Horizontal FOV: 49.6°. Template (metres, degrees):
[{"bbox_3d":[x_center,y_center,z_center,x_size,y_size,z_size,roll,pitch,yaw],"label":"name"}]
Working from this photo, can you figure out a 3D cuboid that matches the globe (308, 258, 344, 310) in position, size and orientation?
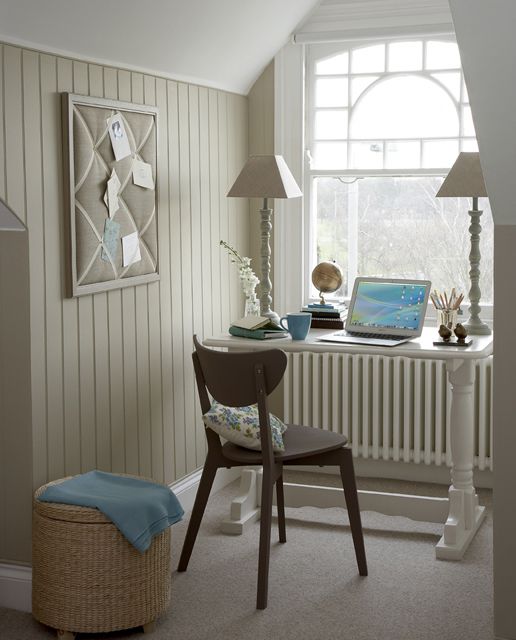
[{"bbox_3d":[0.320,-0.170,2.689,0.164,0.318,0.189,1,6,-6],"label":"globe"}]

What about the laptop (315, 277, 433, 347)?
[{"bbox_3d":[0.542,-0.040,2.359,0.321,0.379,0.242,7,-9,32],"label":"laptop"}]

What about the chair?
[{"bbox_3d":[0.046,0.489,1.929,0.436,0.864,0.422,-3,2,-38],"label":"chair"}]

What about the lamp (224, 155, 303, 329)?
[{"bbox_3d":[0.021,-0.410,2.729,0.337,0.880,0.654,0,1,-2],"label":"lamp"}]

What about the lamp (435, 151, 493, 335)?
[{"bbox_3d":[0.909,-0.322,2.482,0.216,0.781,0.556,0,1,20],"label":"lamp"}]

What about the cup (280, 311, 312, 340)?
[{"bbox_3d":[0.157,0.028,2.397,0.104,0.108,0.096,-4,-1,0],"label":"cup"}]
